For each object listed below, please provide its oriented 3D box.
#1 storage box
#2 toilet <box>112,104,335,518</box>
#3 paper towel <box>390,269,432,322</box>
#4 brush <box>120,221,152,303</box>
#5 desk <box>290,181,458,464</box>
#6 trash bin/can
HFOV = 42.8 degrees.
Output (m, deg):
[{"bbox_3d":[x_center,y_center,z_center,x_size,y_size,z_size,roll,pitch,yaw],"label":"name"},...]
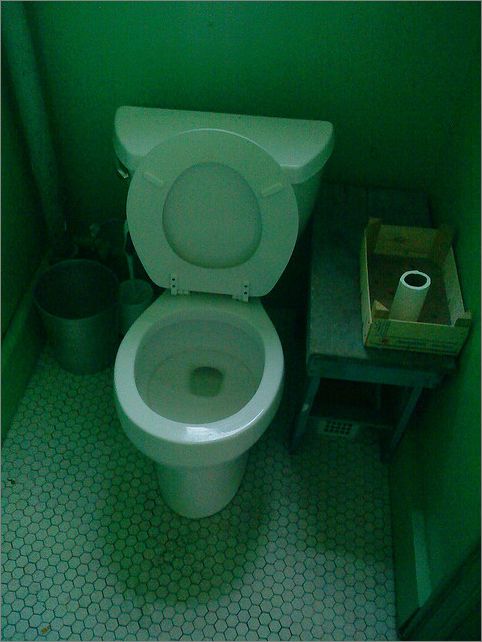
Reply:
[{"bbox_3d":[0.380,-0.088,1.360,0.179,0.113,0.370,6,40,7],"label":"storage box"},{"bbox_3d":[-0.060,0.017,1.491,0.466,0.882,0.757,2,36,-4],"label":"toilet"},{"bbox_3d":[0.359,-0.048,1.294,0.052,0.103,0.066,13,54,12],"label":"paper towel"},{"bbox_3d":[-0.320,-0.195,1.793,0.039,0.181,0.038,-6,29,19],"label":"brush"},{"bbox_3d":[0.333,-0.057,1.768,0.323,0.687,0.748,3,62,1],"label":"desk"},{"bbox_3d":[-0.495,-0.011,1.828,0.168,0.214,0.204,18,51,6],"label":"trash bin/can"}]
